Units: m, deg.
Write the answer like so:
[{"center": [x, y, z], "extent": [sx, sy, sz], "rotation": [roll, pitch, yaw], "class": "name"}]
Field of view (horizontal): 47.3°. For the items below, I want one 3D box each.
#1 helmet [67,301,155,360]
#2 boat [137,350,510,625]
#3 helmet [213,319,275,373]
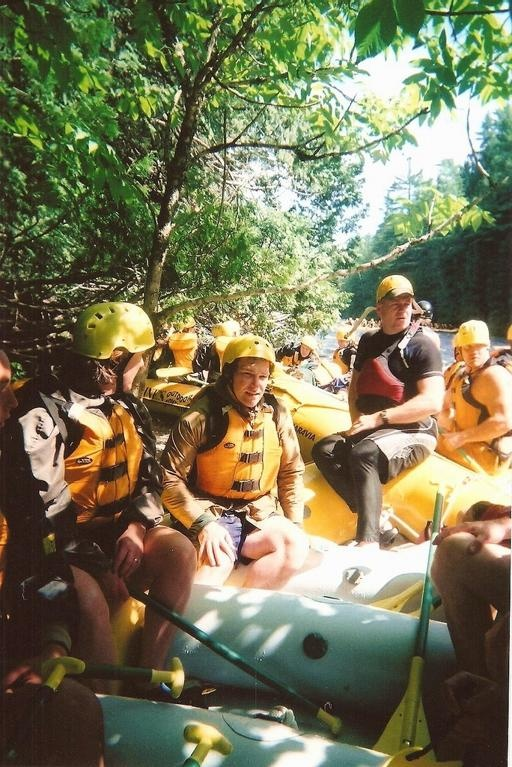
[{"center": [-0.491, -0.181, 1.977], "extent": [0.250, 0.135, 0.194], "rotation": [-6, 16, -12], "class": "helmet"}, {"center": [0.240, 0.437, 2.733], "extent": [1.582, 0.297, 0.885], "rotation": [12, 27, 24], "class": "boat"}, {"center": [-0.054, -0.166, 2.310], "extent": [0.248, 0.179, 0.171], "rotation": [14, 23, 18], "class": "helmet"}]
